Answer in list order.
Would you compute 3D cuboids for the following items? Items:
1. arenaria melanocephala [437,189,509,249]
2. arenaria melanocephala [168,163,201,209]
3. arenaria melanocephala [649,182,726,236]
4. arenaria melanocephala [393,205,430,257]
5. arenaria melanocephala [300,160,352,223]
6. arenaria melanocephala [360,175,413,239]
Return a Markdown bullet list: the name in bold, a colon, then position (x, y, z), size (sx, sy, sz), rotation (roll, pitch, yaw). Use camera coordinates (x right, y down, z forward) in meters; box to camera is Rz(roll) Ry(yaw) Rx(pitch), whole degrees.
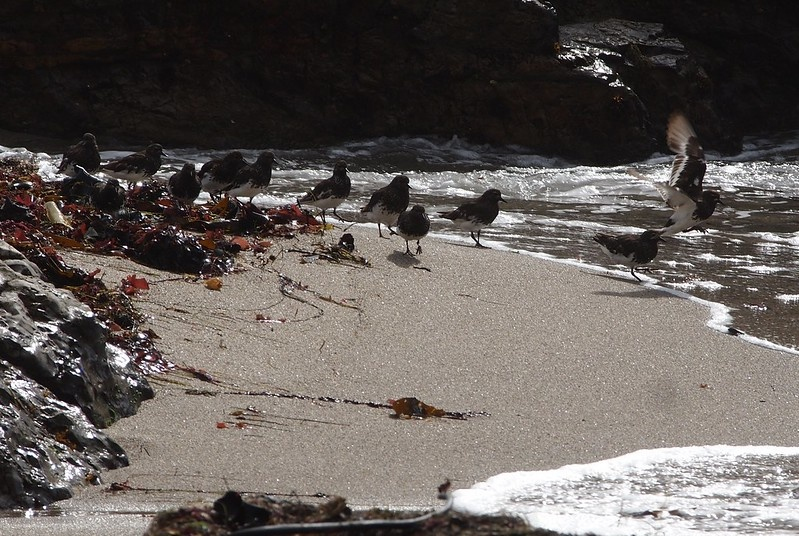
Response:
- **arenaria melanocephala**: position (1.302, -0.896, 20.205), size (0.871, 0.929, 1.013), rotation (4, 20, 8)
- **arenaria melanocephala**: position (-3.583, -1.377, 19.109), size (0.508, 0.717, 0.681), rotation (2, 20, 2)
- **arenaria melanocephala**: position (4.848, -1.068, 20.130), size (1.257, 0.444, 1.143), rotation (-15, -13, 24)
- **arenaria melanocephala**: position (0.230, -0.654, 18.769), size (0.501, 0.804, 0.559), rotation (0, 21, -2)
- **arenaria melanocephala**: position (-1.253, -1.318, 19.726), size (0.725, 1.052, 0.994), rotation (7, 21, 14)
- **arenaria melanocephala**: position (-0.170, -1.056, 19.526), size (0.730, 0.920, 1.412), rotation (9, -3, -29)
